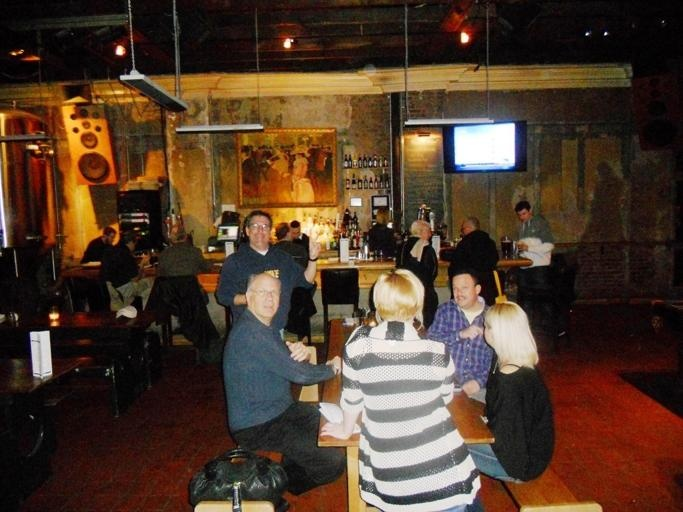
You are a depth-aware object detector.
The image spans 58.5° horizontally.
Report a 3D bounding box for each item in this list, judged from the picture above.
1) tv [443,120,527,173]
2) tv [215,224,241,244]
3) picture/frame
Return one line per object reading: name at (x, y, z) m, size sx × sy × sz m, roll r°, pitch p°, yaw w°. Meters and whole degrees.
tv at (2.582, -1.946, 11.002) m, size 1.443 × 0.862 × 0.225 m, roll -2°, pitch 6°, yaw 4°
tv at (-2.005, -0.381, 10.839) m, size 0.506 × 0.269 × 0.352 m, roll 2°, pitch -7°, yaw 2°
picture/frame at (-1.065, -1.679, 11.913) m, size 2.047 × 1.538 × 0.078 m, roll 1°, pitch 7°, yaw 13°
